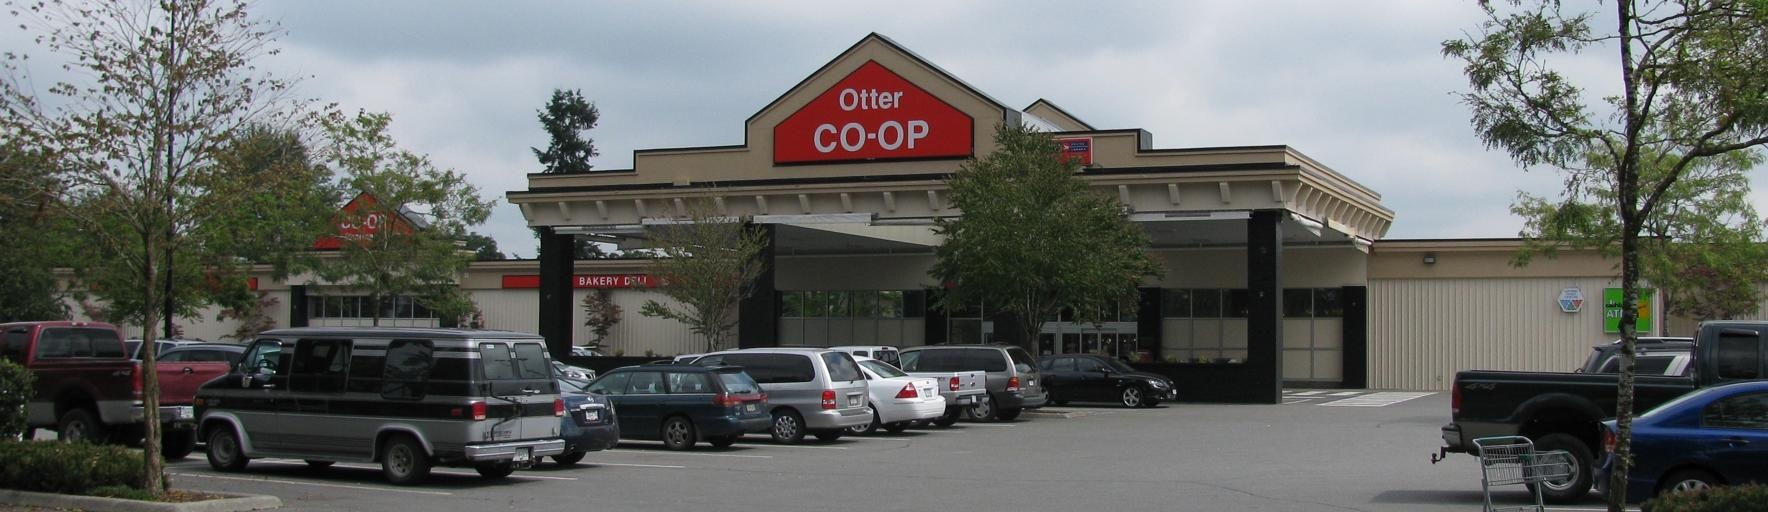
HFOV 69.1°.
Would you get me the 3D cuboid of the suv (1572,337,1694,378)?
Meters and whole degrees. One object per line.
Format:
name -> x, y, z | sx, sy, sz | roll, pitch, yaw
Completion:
suv -> 46.894, 6.349, 78.549 | 7.859, 2.183, 3.078 | -3, -1, 6
